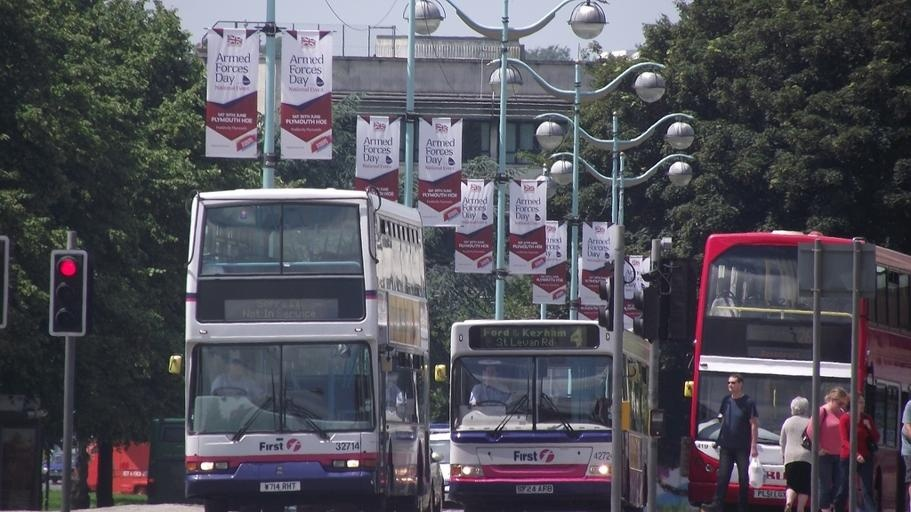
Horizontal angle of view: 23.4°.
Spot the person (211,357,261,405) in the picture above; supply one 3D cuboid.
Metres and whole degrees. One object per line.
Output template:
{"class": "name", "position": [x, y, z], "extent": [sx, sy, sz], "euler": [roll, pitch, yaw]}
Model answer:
{"class": "person", "position": [-6.349, 3.721, 64.229], "extent": [1.624, 1.542, 0.951], "euler": [2, 3, -6]}

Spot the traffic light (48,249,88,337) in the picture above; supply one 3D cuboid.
{"class": "traffic light", "position": [-10.673, 1.107, 61.364], "extent": [0.801, 2.790, 0.792], "euler": [-1, 0, -5]}
